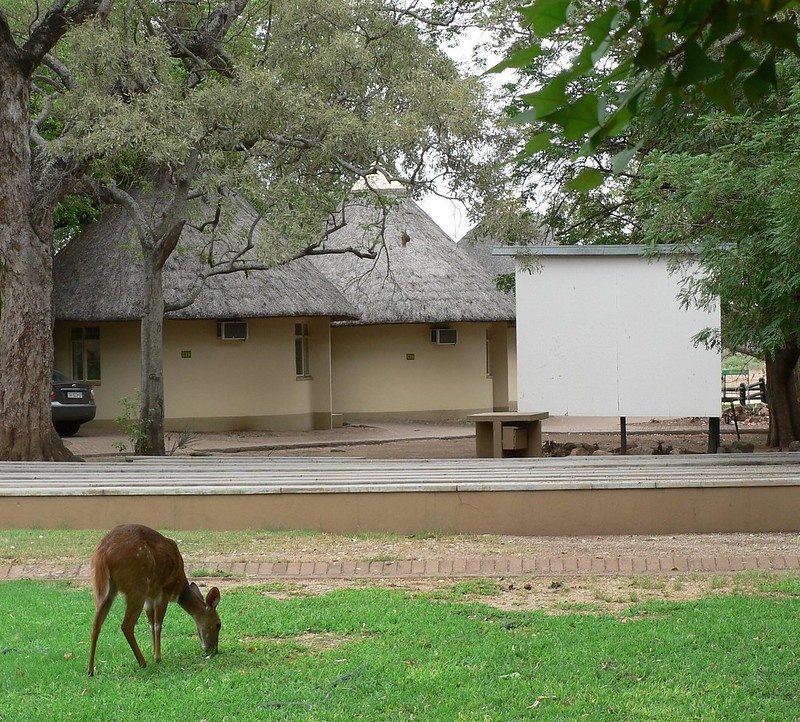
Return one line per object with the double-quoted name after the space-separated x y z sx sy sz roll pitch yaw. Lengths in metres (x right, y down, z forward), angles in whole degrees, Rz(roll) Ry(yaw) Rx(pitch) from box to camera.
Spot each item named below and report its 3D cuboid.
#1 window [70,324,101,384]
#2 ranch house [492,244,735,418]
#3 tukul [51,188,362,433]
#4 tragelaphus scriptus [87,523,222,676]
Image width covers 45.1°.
-6.823 -0.126 20.891 0.044 1.299 0.598 11 11 44 "window"
2.969 -0.407 13.232 2.660 2.340 0.457 0 5 4 "ranch house"
-4.481 -0.650 22.110 5.440 4.746 4.866 -1 0 -9 "tukul"
-1.285 1.290 5.211 0.252 0.689 0.975 -8 -20 28 "tragelaphus scriptus"
